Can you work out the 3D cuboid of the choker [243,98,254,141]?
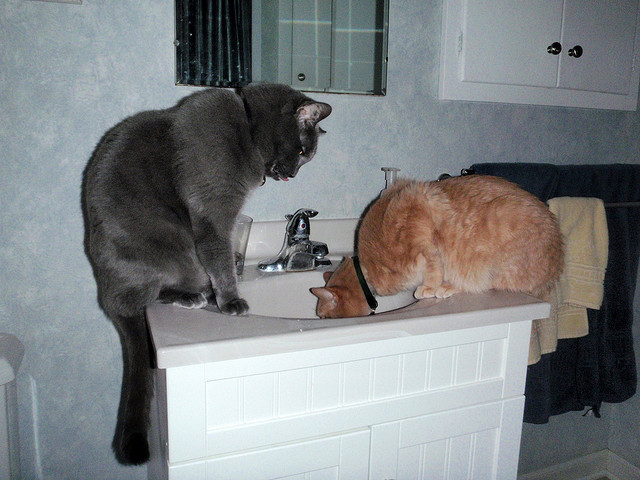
[{"bbox_3d":[-0.215,-0.360,1.913,0.011,0.130,0.017,0,10,44],"label":"choker"}]

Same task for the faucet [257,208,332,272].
[{"bbox_3d":[-0.092,-0.004,2.112,0.248,0.202,0.098,2,6,-20],"label":"faucet"}]

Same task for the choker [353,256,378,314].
[{"bbox_3d":[0.139,0.144,2.011,0.031,0.140,0.097,-15,11,-33],"label":"choker"}]

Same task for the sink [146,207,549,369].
[{"bbox_3d":[0.013,0.103,1.913,1.052,0.338,0.616,-6,12,-13],"label":"sink"}]

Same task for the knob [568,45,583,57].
[{"bbox_3d":[0.932,-0.681,2.285,0.062,0.042,0.019,-8,12,-24],"label":"knob"}]

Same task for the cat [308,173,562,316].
[{"bbox_3d":[0.356,0.052,2.090,0.742,0.387,0.411,-22,-1,15],"label":"cat"}]

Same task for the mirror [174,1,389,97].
[{"bbox_3d":[-0.109,-0.615,2.071,0.733,0.321,0.104,-8,12,-23],"label":"mirror"}]
